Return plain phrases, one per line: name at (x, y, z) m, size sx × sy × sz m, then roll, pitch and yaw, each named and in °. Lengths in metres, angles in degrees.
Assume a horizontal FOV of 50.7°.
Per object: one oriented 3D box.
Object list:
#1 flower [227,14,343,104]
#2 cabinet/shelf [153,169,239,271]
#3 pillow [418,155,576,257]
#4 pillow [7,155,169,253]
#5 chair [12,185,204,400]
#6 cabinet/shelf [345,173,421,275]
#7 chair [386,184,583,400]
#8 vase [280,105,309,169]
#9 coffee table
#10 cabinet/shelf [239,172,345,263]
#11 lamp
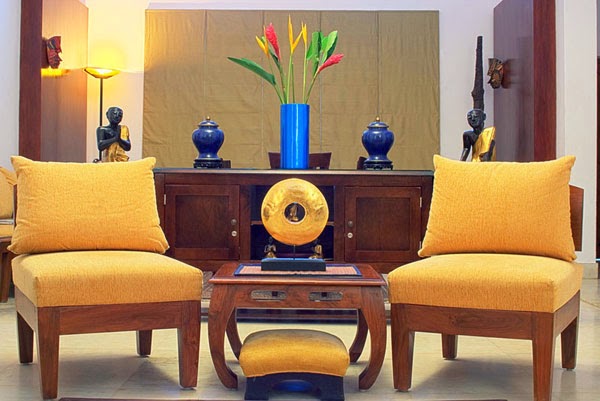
flower at (-0.103, -1.068, 4.925) m, size 0.841 × 0.706 × 0.849 m, roll -16°, pitch 19°, yaw -24°
cabinet/shelf at (-0.737, 0.296, 4.691) m, size 0.663 × 0.818 × 0.495 m, roll 1°, pitch -31°, yaw -12°
pillow at (1.088, 0.050, 3.470) m, size 0.762 × 0.494 × 0.255 m, roll 1°, pitch -1°, yaw 15°
pillow at (-1.158, 0.036, 3.515) m, size 0.717 × 0.418 × 0.229 m, roll -2°, pitch -27°, yaw -13°
chair at (-0.942, 0.476, 3.175) m, size 0.868 × 0.654 × 0.801 m, roll 1°, pitch -9°, yaw -7°
cabinet/shelf at (0.592, 0.149, 4.384) m, size 0.768 × 0.786 × 0.320 m, roll 1°, pitch -2°, yaw 0°
chair at (1.061, 0.566, 3.373) m, size 0.908 × 1.089 × 0.918 m, roll -4°, pitch -10°, yaw 35°
vase at (-0.043, -0.462, 4.551) m, size 0.200 × 0.461 × 0.192 m, roll 0°, pitch 12°, yaw 0°
coffee table at (-0.022, 0.711, 3.488) m, size 0.945 × 0.526 × 0.677 m, roll 1°, pitch -7°, yaw -6°
cabinet/shelf at (0.007, 0.139, 4.583) m, size 0.853 × 0.720 × 0.577 m, roll 2°, pitch 11°, yaw 8°
lamp at (-2.023, -1.021, 6.528) m, size 0.358 × 1.159 × 0.984 m, roll -4°, pitch 12°, yaw -18°
